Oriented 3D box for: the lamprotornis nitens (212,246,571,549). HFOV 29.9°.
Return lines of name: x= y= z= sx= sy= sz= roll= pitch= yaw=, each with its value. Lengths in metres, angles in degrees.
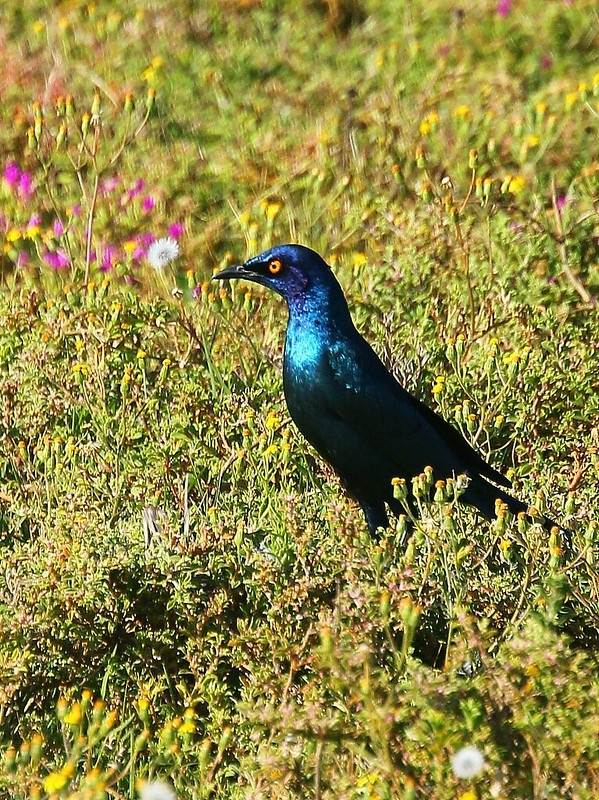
lamprotornis nitens: x=0.207 y=-0.047 z=3.494 sx=0.918 sy=0.329 sz=0.831 roll=0 pitch=101 yaw=-14
